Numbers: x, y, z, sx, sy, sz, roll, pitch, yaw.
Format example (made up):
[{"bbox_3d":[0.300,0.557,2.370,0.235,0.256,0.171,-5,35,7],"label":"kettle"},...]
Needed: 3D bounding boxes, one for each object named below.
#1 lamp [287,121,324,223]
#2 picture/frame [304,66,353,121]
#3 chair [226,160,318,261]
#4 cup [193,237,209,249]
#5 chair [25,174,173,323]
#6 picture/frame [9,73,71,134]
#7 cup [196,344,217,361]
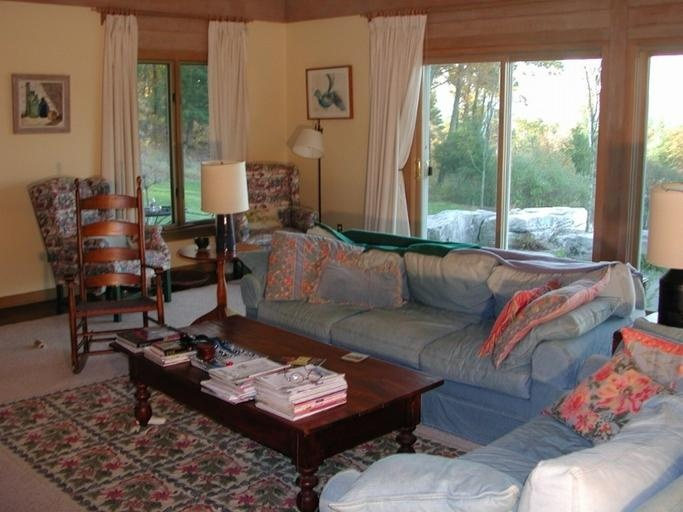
[{"bbox_3d":[-0.445,-1.023,7.146,0.444,1.326,1.013,-1,15,-2],"label":"lamp"},{"bbox_3d":[-0.147,-2.111,7.200,0.760,0.659,0.099,4,8,39],"label":"picture/frame"},{"bbox_3d":[-0.907,-0.451,7.032,1.022,1.321,0.870,-8,16,-28],"label":"chair"},{"bbox_3d":[-1.195,-0.110,4.773,0.101,0.071,0.101,0,9,0],"label":"cup"},{"bbox_3d":[-2.502,-0.119,5.870,1.209,1.350,1.212,0,9,-10],"label":"chair"},{"bbox_3d":[-3.171,-1.596,5.809,0.647,0.679,0.033,-10,18,-42],"label":"picture/frame"},{"bbox_3d":[-0.773,0.549,3.173,0.096,0.084,0.097,-6,2,0],"label":"cup"}]
